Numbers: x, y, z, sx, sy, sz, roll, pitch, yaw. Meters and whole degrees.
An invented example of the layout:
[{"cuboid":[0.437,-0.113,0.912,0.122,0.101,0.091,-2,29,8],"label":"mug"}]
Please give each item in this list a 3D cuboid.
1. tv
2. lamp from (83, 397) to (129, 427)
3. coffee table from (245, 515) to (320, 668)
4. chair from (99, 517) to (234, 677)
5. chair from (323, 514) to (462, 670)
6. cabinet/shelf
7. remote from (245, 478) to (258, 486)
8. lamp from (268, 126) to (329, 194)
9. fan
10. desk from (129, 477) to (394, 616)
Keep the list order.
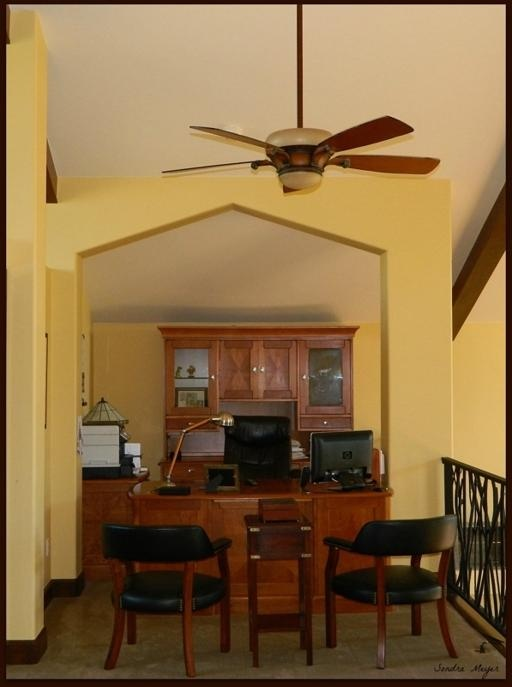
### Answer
[{"cuboid":[0.523,0.734,4.094,0.358,0.296,0.162,-1,9,-18],"label":"tv"},{"cuboid":[-1.158,0.534,5.080,0.317,0.221,0.379,1,-6,-8],"label":"lamp"},{"cuboid":[0.114,1.270,3.515,0.342,0.724,0.577,0,-6,0],"label":"coffee table"},{"cuboid":[-0.431,1.206,3.256,0.587,0.670,0.600,-1,-8,3],"label":"chair"},{"cuboid":[0.690,1.210,3.366,0.614,0.703,0.551,2,-7,-13],"label":"chair"},{"cuboid":[0.016,0.532,6.590,1.829,1.341,0.481,0,3,2],"label":"cabinet/shelf"},{"cuboid":[-0.030,0.920,4.340,0.083,0.036,0.114,-1,-2,4],"label":"remote"},{"cuboid":[0.173,-0.741,2.730,0.240,0.178,0.242,1,7,24],"label":"lamp"},{"cuboid":[0.276,-0.772,2.805,0.926,0.827,0.885,-1,5,-21],"label":"fan"},{"cuboid":[0.036,1.183,4.324,1.525,0.807,0.521,-1,21,-3],"label":"desk"}]
